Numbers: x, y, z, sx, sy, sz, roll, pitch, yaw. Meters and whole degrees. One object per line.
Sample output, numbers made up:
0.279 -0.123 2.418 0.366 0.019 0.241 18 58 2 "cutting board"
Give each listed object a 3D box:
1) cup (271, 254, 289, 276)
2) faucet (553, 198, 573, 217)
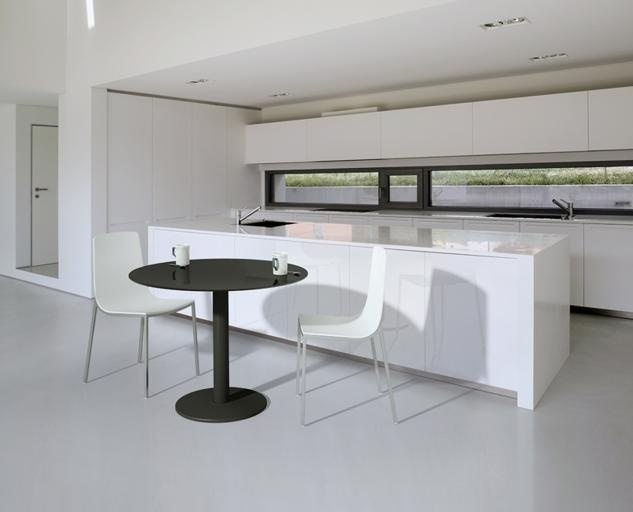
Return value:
-0.224 0.053 2.967 0.084 0.125 0.136 0 3 -15 "cup"
2.909 -0.562 5.494 0.243 0.201 0.570 5 11 27 "faucet"
